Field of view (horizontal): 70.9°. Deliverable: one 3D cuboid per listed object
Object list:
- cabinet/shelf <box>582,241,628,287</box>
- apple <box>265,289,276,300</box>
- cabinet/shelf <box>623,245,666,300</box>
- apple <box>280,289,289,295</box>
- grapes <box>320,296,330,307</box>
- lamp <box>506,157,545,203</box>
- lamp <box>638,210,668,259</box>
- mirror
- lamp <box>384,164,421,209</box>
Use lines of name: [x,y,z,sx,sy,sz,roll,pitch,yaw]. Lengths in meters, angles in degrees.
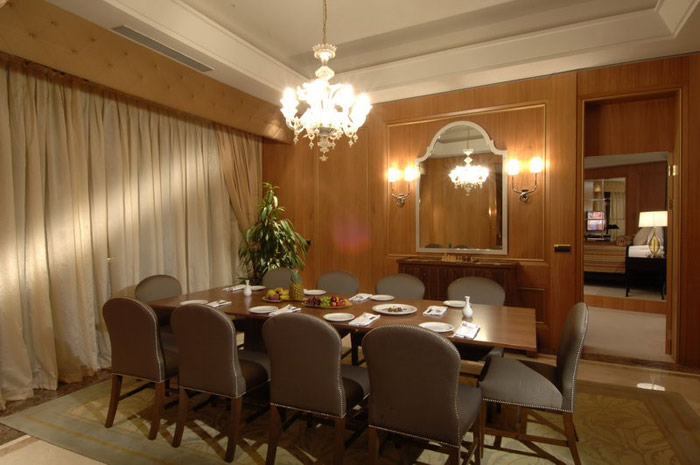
cabinet/shelf: [5.647,0.711,10.553,0.644,0.788,1.143,0,0,-17]
apple: [-0.895,0.707,5.526,0.088,0.095,0.123,6,-18,-4]
cabinet/shelf: [5.879,0.703,9.901,0.809,1.028,1.439,-2,-3,36]
apple: [-0.768,0.691,5.611,0.094,0.039,0.093,2,-2,-42]
grapes: [-0.278,0.741,5.222,0.087,0.046,0.093,6,3,8]
lamp: [2.383,-0.706,6.738,0.449,0.597,0.168,-2,-10,34]
lamp: [6.017,0.027,9.765,0.433,0.881,1.127,1,1,30]
mirror: [1.576,-0.598,7.080,1.336,2.039,0.074,-1,17,14]
lamp: [0.805,-0.702,7.405,0.655,0.827,0.220,0,-2,27]
